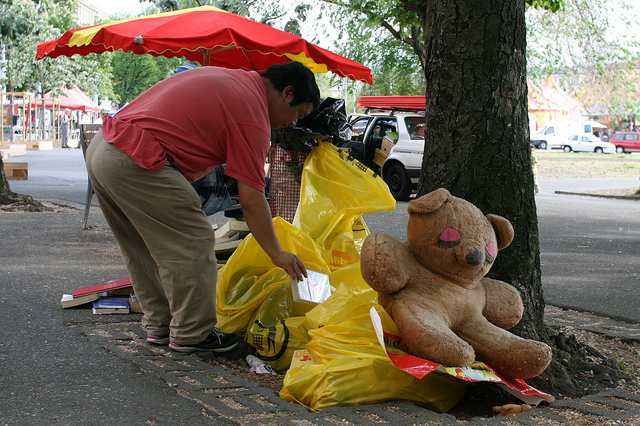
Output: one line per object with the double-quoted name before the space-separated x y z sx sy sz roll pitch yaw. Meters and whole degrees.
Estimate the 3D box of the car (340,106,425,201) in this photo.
"car" 1.439 -1.761 15.555 3.709 2.014 1.789 11 20 40

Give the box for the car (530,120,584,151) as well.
"car" 21.277 -6.937 53.864 5.118 2.511 2.526 3 0 -8

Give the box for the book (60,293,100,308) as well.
"book" -2.175 0.774 5.339 0.312 0.132 0.203 1 8 -17

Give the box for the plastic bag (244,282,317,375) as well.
"plastic bag" -0.307 0.875 4.640 0.284 0.497 0.641 33 21 -21

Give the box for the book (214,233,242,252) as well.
"book" -0.986 0.331 6.340 0.192 0.077 0.209 -13 8 31

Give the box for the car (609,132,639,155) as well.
"car" 26.211 -6.152 50.588 2.785 1.383 1.594 -3 7 15

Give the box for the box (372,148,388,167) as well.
"box" 1.417 -1.338 14.121 0.346 0.295 0.415 21 9 11

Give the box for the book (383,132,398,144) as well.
"book" 1.776 -1.959 14.933 0.395 0.100 0.399 6 14 -27

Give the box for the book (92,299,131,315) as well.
"book" -1.877 0.838 5.292 0.318 0.082 0.277 1 8 -21

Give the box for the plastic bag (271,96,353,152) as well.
"plastic bag" -0.049 -0.880 5.825 0.703 0.316 0.583 -5 15 -11

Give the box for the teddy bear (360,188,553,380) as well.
"teddy bear" 0.863 0.469 3.833 1.167 1.219 0.552 2 8 -12

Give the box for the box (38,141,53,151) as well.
"box" -16.063 -4.013 34.437 0.457 0.469 3.416 1 8 -20

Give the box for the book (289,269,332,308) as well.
"book" -0.064 0.581 4.537 0.312 0.271 0.080 23 -46 -37

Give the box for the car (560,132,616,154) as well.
"car" 23.012 -6.022 50.627 3.920 1.362 1.828 2 6 33

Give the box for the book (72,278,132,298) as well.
"book" -2.015 0.693 5.431 0.498 0.113 0.278 1 8 -22

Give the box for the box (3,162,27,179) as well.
"box" -8.271 -1.170 15.999 0.532 0.438 0.582 0 8 -27
